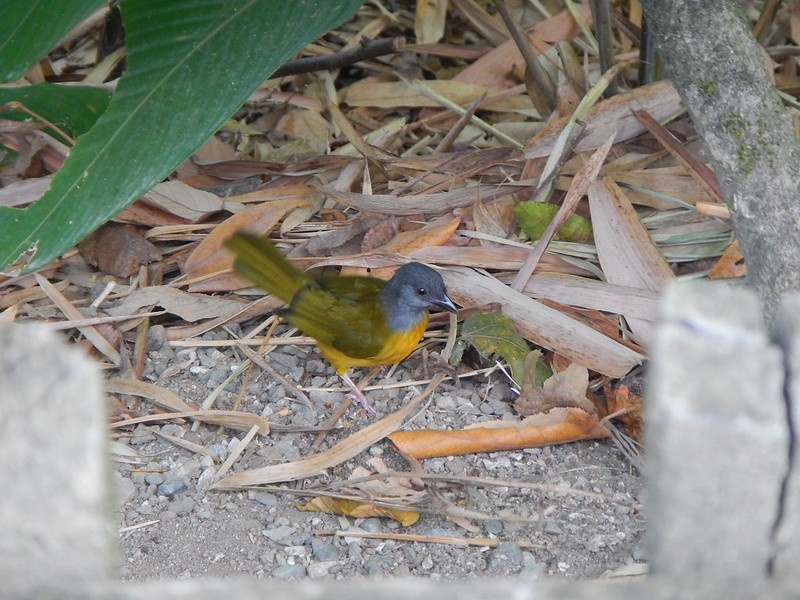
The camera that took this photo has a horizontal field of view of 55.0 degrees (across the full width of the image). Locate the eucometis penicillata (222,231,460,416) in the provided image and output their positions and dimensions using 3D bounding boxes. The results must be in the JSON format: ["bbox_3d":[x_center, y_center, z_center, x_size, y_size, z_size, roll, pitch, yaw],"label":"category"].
[{"bbox_3d":[-0.118,-0.002,2.554,0.920,0.515,0.397,22,53,30],"label":"eucometis penicillata"}]
